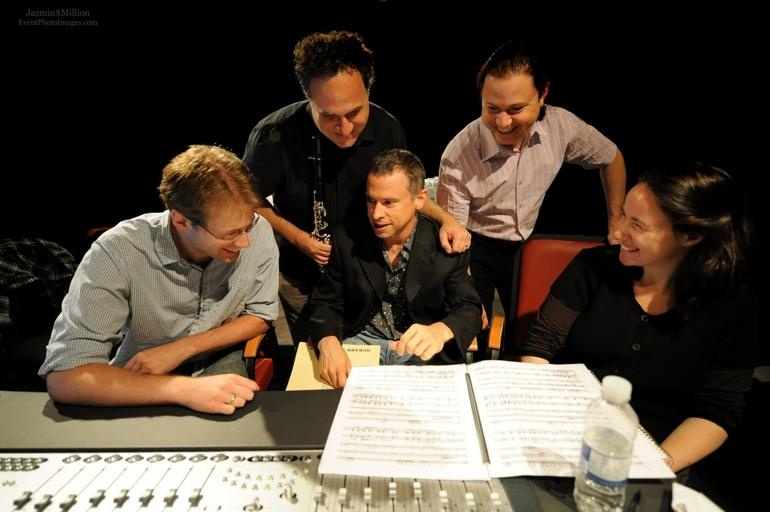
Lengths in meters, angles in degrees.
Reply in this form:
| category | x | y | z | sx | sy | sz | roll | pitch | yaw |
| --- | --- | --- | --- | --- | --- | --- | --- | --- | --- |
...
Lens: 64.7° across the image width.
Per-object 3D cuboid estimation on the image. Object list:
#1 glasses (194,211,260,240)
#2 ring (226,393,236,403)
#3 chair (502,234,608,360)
| category | x | y | z | sx | sy | sz | roll | pitch | yaw |
| --- | --- | --- | --- | --- | --- | --- | --- | --- | --- |
| glasses | -0.874 | -0.156 | 3.374 | 0.316 | 0.141 | 0.074 | -11 | 30 | -15 |
| ring | -0.774 | 0.728 | 3.076 | 0.037 | 0.037 | 0.037 | 12 | -1 | 0 |
| chair | 1.161 | 0.256 | 4.236 | 0.679 | 1.137 | 0.771 | 8 | 2 | 11 |
